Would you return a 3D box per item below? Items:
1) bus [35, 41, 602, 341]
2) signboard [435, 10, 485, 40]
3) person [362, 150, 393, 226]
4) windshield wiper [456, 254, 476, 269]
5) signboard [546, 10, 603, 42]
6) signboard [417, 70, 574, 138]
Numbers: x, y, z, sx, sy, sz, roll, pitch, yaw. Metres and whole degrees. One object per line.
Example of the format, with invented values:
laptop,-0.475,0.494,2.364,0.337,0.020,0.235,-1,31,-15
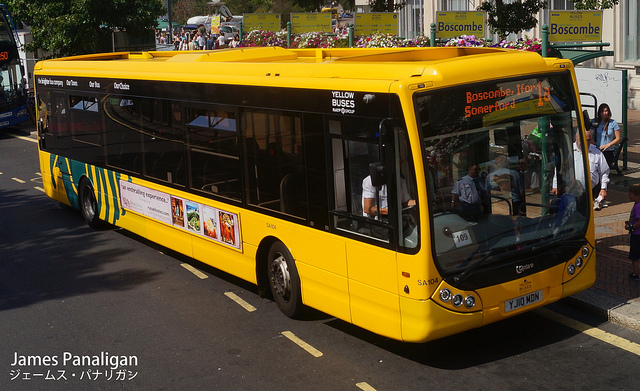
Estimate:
bus,-1.968,-1.088,12.523,13.478,4.266,4.085,12,18,41
signboard,4.768,-5.782,18.150,1.786,1.074,0.068,2,13,7
person,0.766,-0.131,7.430,0.257,1.045,0.680,-9,19,-16
windshield wiper,1.972,0.894,7.250,0.042,0.232,0.057,33,18,-43
signboard,7.245,-4.813,15.177,1.713,0.935,0.483,-7,18,-9
signboard,2.385,-1.299,7.429,2.333,0.639,0.113,-8,8,-5
